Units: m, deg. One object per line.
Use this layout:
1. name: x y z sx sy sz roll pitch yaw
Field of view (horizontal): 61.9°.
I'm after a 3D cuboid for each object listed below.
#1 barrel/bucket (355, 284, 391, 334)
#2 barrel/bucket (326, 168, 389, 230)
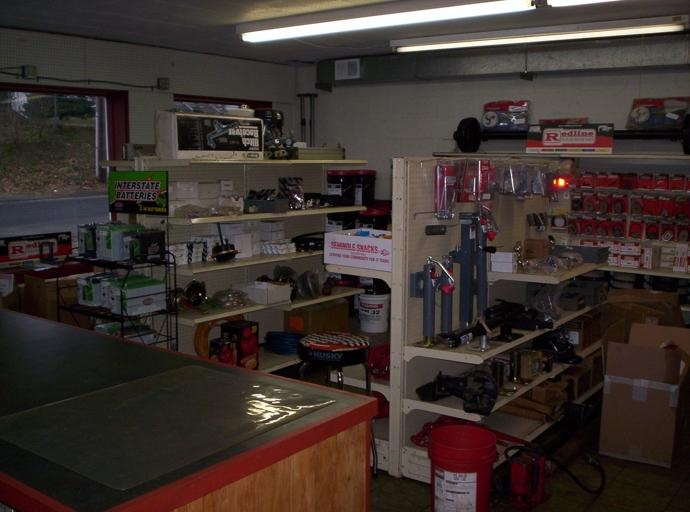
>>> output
1. barrel/bucket: 0.347 0.508 5.599 0.386 0.417 0.384 0 7 0
2. barrel/bucket: 0.176 -0.704 6.875 0.822 0.790 0.845 -2 12 0
